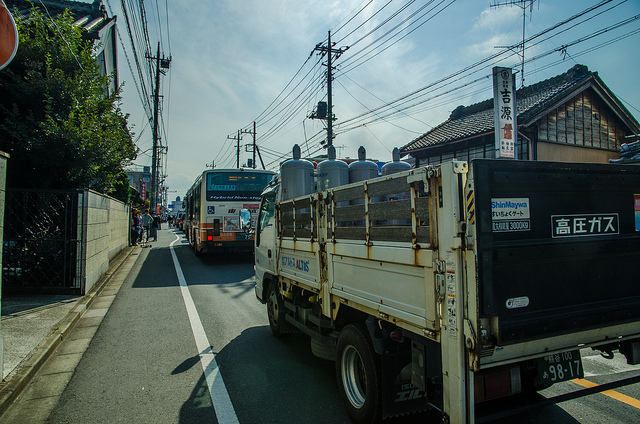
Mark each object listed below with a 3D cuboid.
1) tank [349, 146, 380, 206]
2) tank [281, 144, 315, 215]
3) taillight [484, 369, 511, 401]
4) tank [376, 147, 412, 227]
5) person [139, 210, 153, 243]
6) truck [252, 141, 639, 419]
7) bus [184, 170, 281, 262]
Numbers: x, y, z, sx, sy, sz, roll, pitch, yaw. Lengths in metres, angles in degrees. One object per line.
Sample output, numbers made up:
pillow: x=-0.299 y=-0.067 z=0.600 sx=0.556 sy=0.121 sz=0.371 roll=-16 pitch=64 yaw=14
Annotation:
tank: x=0.871 y=-0.651 z=11.067 sx=0.657 sy=1.276 sz=0.662 roll=-4 pitch=5 yaw=-33
tank: x=-0.458 y=-0.553 z=11.406 sx=0.624 sy=1.663 sz=0.639 roll=-4 pitch=-2 yaw=33
taillight: x=2.620 y=2.529 z=8.009 sx=0.374 sy=0.405 sz=0.096 roll=-5 pitch=-5 yaw=-19
tank: x=1.379 y=-0.457 z=9.810 sx=0.479 sy=1.343 sz=0.482 roll=2 pitch=-3 yaw=-40
person: x=-8.702 y=0.877 z=27.086 sx=0.507 sy=1.614 sz=1.541 roll=-3 pitch=12 yaw=-17
truck: x=1.474 y=1.254 z=10.178 sx=3.717 sy=3.725 sz=6.524 roll=1 pitch=-1 yaw=-32
bus: x=-3.331 y=0.131 z=20.662 sx=2.574 sy=3.218 sz=6.696 roll=0 pitch=0 yaw=-15
